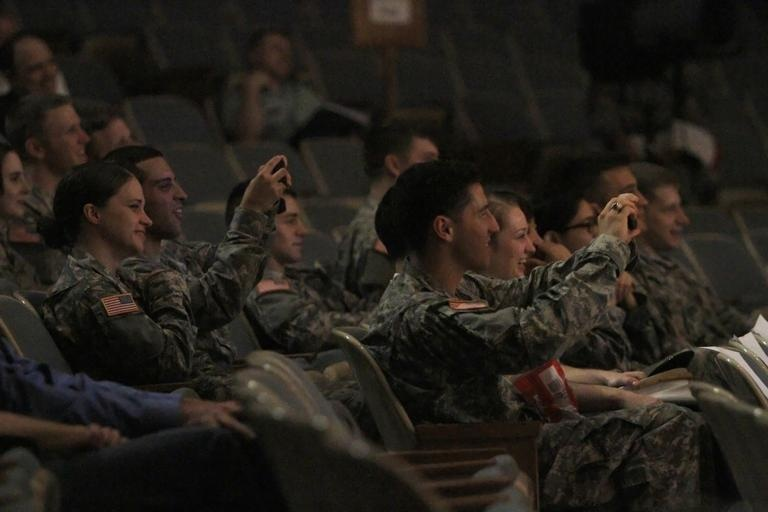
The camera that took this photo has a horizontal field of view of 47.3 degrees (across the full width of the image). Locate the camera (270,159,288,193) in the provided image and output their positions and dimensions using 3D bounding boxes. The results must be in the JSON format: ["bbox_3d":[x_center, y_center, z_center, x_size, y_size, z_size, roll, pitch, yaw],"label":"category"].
[{"bbox_3d":[-0.332,-0.258,2.796,0.060,0.079,0.025,4,16,-24],"label":"camera"}]
